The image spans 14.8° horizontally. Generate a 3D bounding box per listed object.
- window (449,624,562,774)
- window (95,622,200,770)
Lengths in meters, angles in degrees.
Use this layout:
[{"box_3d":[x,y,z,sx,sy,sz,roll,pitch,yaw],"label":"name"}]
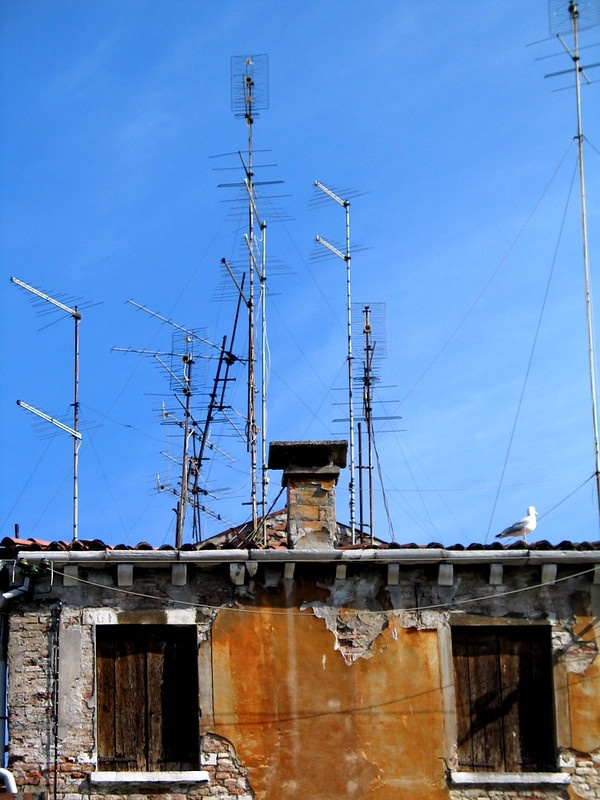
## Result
[{"box_3d":[2.345,3.425,25.700,1.329,2.212,0.262,-1,-18,0],"label":"window"},{"box_3d":[-1.717,3.359,25.478,1.299,2.042,0.225,-3,-23,-3],"label":"window"}]
